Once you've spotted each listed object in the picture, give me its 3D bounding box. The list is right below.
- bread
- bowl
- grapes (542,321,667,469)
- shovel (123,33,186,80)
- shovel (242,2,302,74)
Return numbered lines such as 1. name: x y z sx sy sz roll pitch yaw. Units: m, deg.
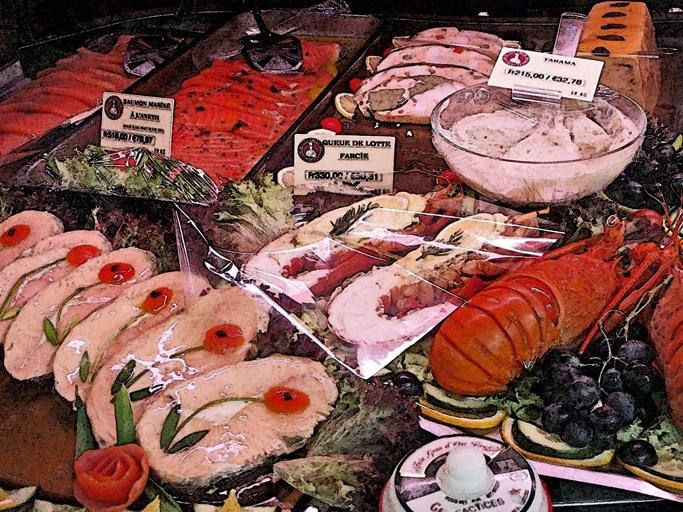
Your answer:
1. bread: 1.095 -0.819 2.085 0.388 0.130 0.458 5 73 21
2. bowl: 0.686 -0.417 1.976 0.741 0.255 0.439 11 52 14
3. grapes: 0.874 0.474 1.796 0.364 0.159 0.420 -8 64 9
4. shovel: -0.997 -1.059 2.838 0.340 0.092 0.313 4 50 8
5. shovel: -0.339 -1.080 2.674 0.317 0.230 0.334 1 51 6
